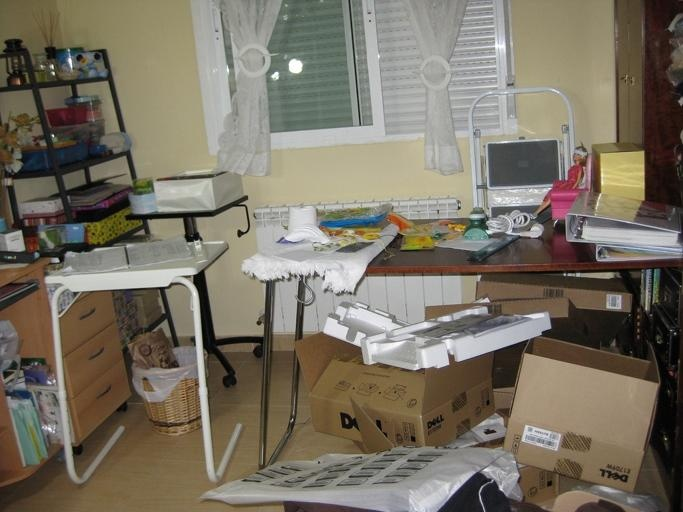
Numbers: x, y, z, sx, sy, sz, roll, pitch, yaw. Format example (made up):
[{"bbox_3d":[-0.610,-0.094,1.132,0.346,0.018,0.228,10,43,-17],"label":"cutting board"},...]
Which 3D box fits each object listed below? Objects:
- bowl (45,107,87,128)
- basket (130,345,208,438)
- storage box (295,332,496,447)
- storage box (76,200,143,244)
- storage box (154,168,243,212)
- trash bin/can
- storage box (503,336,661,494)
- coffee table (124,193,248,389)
[{"bbox_3d":[-1.813,-0.914,3.515,0.219,0.108,0.149,-3,13,-9],"label":"bowl"},{"bbox_3d":[-0.960,0.795,3.166,0.388,0.378,0.441,-4,1,30],"label":"basket"},{"bbox_3d":[0.220,0.620,2.520,0.751,0.389,0.560,2,9,25],"label":"storage box"},{"bbox_3d":[-1.509,-0.208,3.440,0.266,0.126,0.371,-1,9,11],"label":"storage box"},{"bbox_3d":[-0.923,-0.441,3.622,0.547,0.238,0.565,1,14,25],"label":"storage box"},{"bbox_3d":[-1.043,0.910,3.142,0.376,0.417,0.337,-12,60,-23],"label":"trash bin/can"},{"bbox_3d":[1.039,0.603,2.345,0.649,0.519,0.648,16,17,39],"label":"storage box"},{"bbox_3d":[-0.972,0.202,3.699,0.865,1.196,0.829,3,13,43],"label":"coffee table"}]
